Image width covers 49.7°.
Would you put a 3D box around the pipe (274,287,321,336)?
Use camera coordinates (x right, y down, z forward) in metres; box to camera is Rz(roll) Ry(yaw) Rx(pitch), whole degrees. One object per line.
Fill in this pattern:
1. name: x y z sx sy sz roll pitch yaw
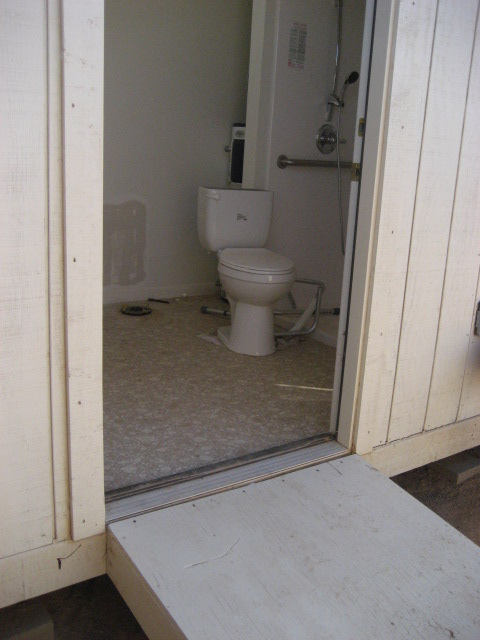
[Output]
1. pipe: 0.315 0.018 2.819 0.242 0.260 0.063 -1 -14 14

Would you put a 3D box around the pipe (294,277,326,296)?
1. pipe: 0.391 -0.193 2.838 0.111 0.115 0.034 6 13 16

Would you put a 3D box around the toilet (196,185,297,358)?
1. toilet: 0.010 -0.290 2.802 0.459 0.854 0.725 4 13 -16

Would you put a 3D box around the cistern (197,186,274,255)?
1. cistern: -0.012 -0.588 2.999 0.382 0.417 0.253 -1 31 -8
